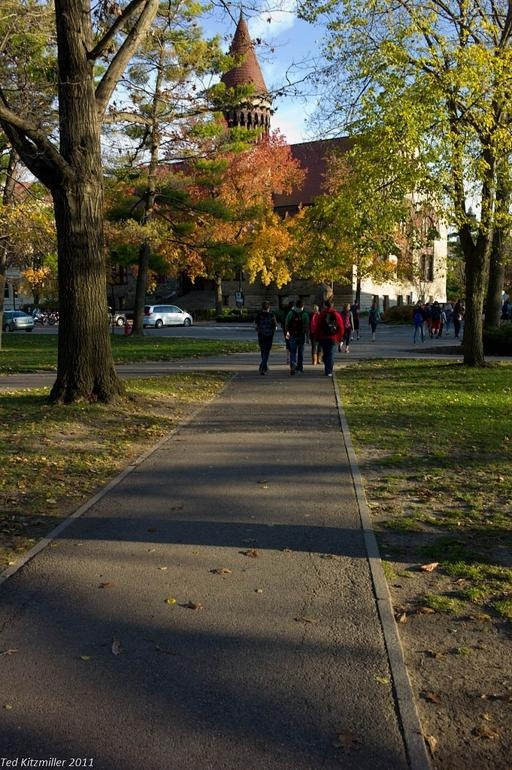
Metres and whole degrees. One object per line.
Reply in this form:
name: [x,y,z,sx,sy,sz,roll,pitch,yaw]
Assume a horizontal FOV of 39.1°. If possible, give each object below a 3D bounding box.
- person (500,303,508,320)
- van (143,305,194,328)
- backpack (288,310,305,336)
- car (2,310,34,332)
person: [16.227,-4.918,47.311,0.390,1.072,1.783,4,4,18]
van: [-6.422,-4.955,51.428,3.245,1.319,1.648,-12,14,-41]
backpack: [0.980,-1.523,17.516,0.423,0.687,0.322,3,3,3]
car: [-16.573,-4.483,50.510,1.859,1.374,1.438,3,3,-10]
